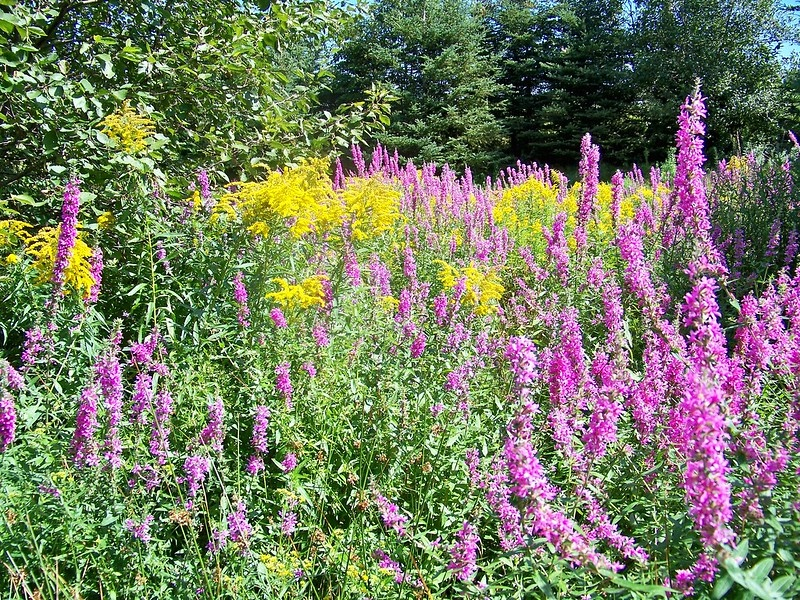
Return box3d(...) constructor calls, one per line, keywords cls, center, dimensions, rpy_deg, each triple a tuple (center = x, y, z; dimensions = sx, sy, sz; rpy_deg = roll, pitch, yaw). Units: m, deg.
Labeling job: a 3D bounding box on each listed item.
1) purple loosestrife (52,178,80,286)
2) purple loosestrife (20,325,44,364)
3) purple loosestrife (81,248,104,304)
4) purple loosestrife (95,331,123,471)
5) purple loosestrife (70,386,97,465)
box3d(cls="purple loosestrife", center=(-1.693, -0.347, 3.495), dimensions=(0.111, 0.561, 0.207), rpy_deg=(0, 1, -27))
box3d(cls="purple loosestrife", center=(-1.925, 0.238, 3.625), dimensions=(0.099, 0.219, 0.382), rpy_deg=(0, 0, -28))
box3d(cls="purple loosestrife", center=(-1.755, -0.132, 3.947), dimensions=(0.086, 0.325, 0.254), rpy_deg=(0, 1, -22))
box3d(cls="purple loosestrife", center=(-1.363, 0.461, 3.229), dimensions=(0.113, 0.644, 0.273), rpy_deg=(0, 1, -24))
box3d(cls="purple loosestrife", center=(-1.452, 0.572, 3.165), dimensions=(0.111, 0.378, 0.202), rpy_deg=(0, 1, -26))
